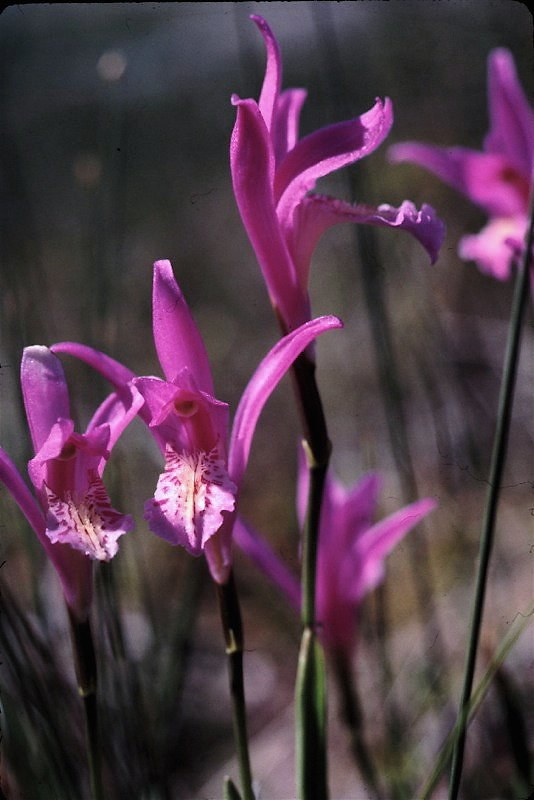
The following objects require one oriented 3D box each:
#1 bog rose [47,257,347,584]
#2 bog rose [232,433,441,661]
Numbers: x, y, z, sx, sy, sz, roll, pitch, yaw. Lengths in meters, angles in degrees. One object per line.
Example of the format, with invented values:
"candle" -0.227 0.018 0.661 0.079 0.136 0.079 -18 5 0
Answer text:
"bog rose" -0.043 0.018 0.610 0.164 0.154 0.171 -11 -3 -2
"bog rose" 0.045 0.105 0.628 0.136 0.127 0.126 3 -15 -13
